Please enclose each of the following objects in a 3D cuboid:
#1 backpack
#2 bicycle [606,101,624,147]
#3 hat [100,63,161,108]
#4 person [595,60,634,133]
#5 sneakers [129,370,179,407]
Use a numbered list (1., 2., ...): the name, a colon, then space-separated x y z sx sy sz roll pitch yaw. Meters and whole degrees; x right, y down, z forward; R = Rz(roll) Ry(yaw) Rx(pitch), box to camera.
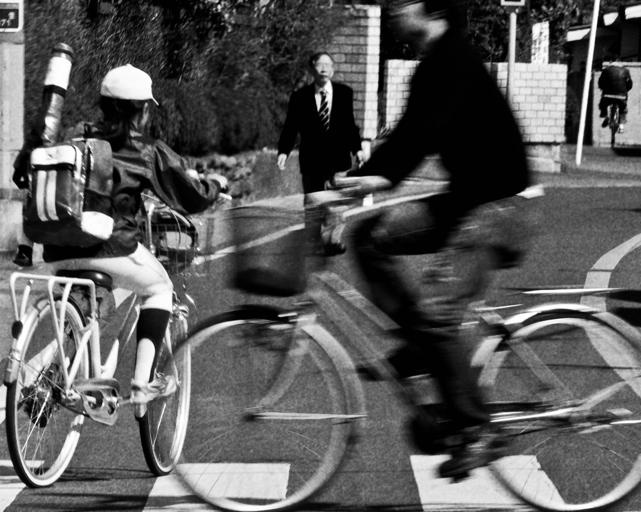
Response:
1. backpack: -1.144 -0.296 4.272 0.354 0.489 0.269 -8 -18 30
2. bicycle: 7.065 -3.174 22.639 0.424 0.547 0.915 14 1 27
3. hat: -0.873 -0.778 4.366 0.280 0.175 0.219 2 14 -24
4. person: 7.008 -3.711 22.600 0.753 1.615 0.806 3 12 17
5. sneakers: -0.774 0.603 4.376 0.186 0.115 0.081 -14 18 -26
